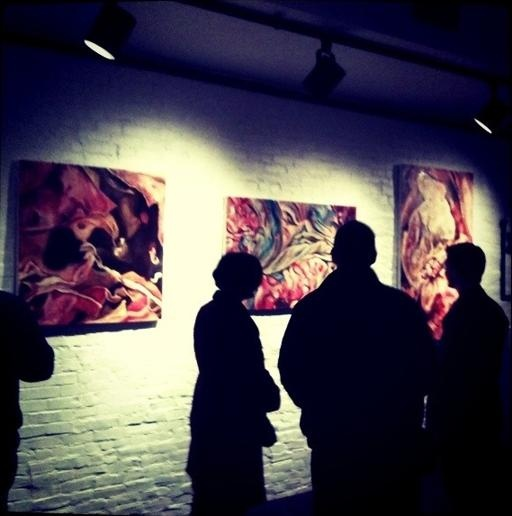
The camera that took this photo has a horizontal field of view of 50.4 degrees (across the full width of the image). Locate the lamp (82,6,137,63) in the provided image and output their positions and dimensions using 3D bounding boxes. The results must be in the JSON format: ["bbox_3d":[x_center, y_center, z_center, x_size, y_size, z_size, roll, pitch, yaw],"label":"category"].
[{"bbox_3d":[-0.721,-1.121,2.694,0.243,0.276,0.140,7,0,-7],"label":"lamp"}]

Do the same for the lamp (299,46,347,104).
[{"bbox_3d":[0.381,-1.052,2.996,0.170,0.313,0.193,7,0,-19],"label":"lamp"}]
